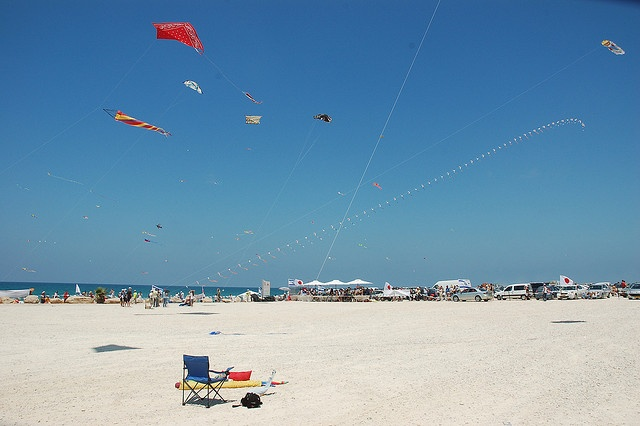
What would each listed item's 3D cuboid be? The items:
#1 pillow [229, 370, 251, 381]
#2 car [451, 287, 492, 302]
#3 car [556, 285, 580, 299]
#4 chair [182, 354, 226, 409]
[{"bbox_3d":[-2.006,4.051,12.538,0.607,0.332,0.190,0,-60,-6],"label":"pillow"},{"bbox_3d":[12.513,6.800,41.874,2.969,0.991,1.409,-2,-6,38],"label":"car"},{"bbox_3d":[20.783,6.639,41.949,0.950,0.740,1.658,-10,-17,43],"label":"car"},{"bbox_3d":[-2.719,3.913,11.944,0.940,1.138,0.944,-2,-9,6],"label":"chair"}]
